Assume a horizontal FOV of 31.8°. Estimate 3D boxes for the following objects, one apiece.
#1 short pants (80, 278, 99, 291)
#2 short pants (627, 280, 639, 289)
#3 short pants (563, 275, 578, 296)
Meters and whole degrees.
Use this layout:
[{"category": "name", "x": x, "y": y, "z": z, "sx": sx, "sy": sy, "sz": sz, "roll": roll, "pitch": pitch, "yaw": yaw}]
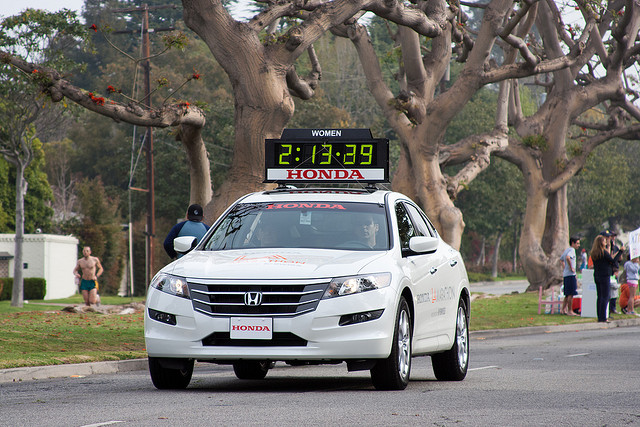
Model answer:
[{"category": "short pants", "x": -7.846, "y": 2.319, "z": 38.188, "sx": 0.568, "sy": 0.431, "sz": 0.380, "roll": 2, "pitch": -17, "yaw": -11}, {"category": "short pants", "x": 10.150, "y": 2.310, "z": 36.606, "sx": 0.275, "sy": 0.218, "sz": 0.274, "roll": 0, "pitch": -1, "yaw": -36}, {"category": "short pants", "x": 8.006, "y": 2.295, "z": 35.980, "sx": 0.428, "sy": 0.719, "sz": 0.605, "roll": 2, "pitch": 4, "yaw": 12}]
